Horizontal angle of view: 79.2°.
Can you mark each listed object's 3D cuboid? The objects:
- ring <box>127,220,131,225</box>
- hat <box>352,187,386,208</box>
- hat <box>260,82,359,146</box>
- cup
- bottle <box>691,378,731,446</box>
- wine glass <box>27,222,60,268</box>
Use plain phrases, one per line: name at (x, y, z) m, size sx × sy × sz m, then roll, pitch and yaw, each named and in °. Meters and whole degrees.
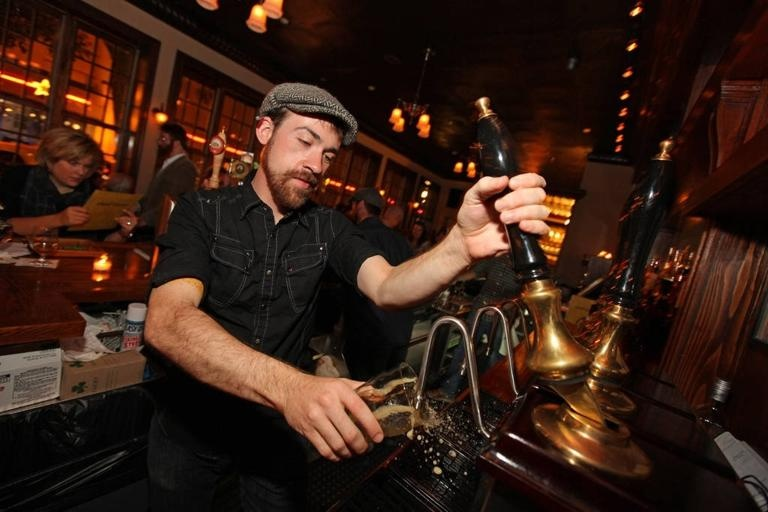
ring at (-2.088, -0.295, 3.901) m, size 0.048 × 0.043 × 0.014 m, roll -4°, pitch -2°, yaw -45°
hat at (-0.148, -0.588, 4.523) m, size 0.264 × 0.146 × 0.192 m, roll 29°, pitch 13°, yaw 24°
hat at (-0.417, -0.865, 2.771) m, size 0.674 × 0.215 × 0.521 m, roll 12°, pitch -3°, yaw 42°
cup at (0.026, 0.643, 2.047) m, size 0.314 × 0.315 × 0.300 m, roll -6°, pitch -17°, yaw -2°
bottle at (1.487, 0.693, 2.152) m, size 0.222 × 0.246 × 0.310 m, roll 1°, pitch 3°, yaw 32°
wine glass at (-2.124, -0.068, 2.971) m, size 0.129 × 0.224 × 0.221 m, roll 0°, pitch 14°, yaw -42°
